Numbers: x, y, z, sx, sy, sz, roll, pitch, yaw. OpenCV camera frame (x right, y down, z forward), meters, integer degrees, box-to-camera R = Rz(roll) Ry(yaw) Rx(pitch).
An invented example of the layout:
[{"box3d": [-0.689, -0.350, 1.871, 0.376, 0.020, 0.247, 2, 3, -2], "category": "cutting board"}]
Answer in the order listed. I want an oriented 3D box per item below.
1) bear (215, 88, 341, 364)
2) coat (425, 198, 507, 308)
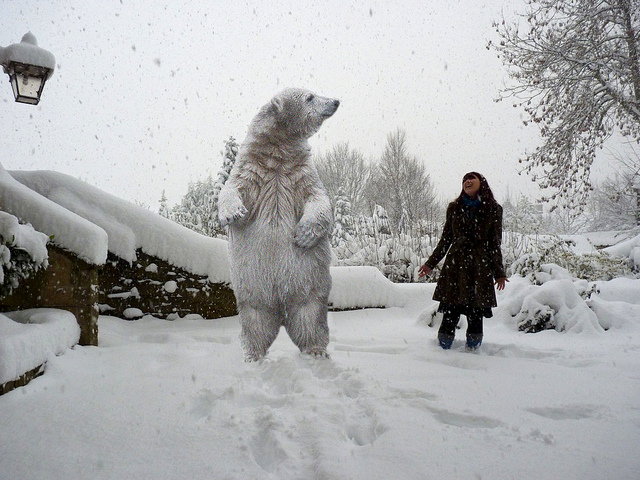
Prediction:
[{"box3d": [-0.369, -0.156, 4.601, 0.989, 2.459, 0.732, 1, 7, -3], "category": "bear"}, {"box3d": [1.662, 0.143, 5.612, 0.715, 1.206, 0.431, 5, 8, 24], "category": "coat"}]
